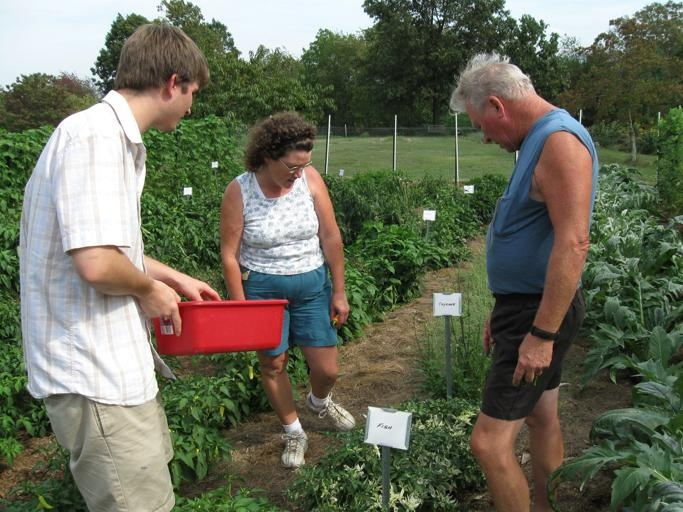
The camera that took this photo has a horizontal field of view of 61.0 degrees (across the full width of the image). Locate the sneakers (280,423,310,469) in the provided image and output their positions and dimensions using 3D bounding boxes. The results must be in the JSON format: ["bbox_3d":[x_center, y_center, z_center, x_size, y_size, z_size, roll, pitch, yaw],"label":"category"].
[{"bbox_3d":[-0.336,1.349,4.018,0.116,0.140,0.301,-1,5,-1],"label":"sneakers"}]

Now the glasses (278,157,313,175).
[{"bbox_3d":[-0.319,-0.552,3.679,0.120,0.038,0.123,-15,40,-21],"label":"glasses"}]

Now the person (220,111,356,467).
[{"bbox_3d":[-0.295,0.255,3.936,0.607,2.415,0.869,0,5,41],"label":"person"}]

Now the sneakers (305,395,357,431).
[{"bbox_3d":[-0.066,1.185,4.378,0.397,0.205,0.170,37,-27,1],"label":"sneakers"}]

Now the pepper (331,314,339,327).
[{"bbox_3d":[-0.053,0.453,4.057,0.050,0.079,0.028,36,-1,-32],"label":"pepper"}]
